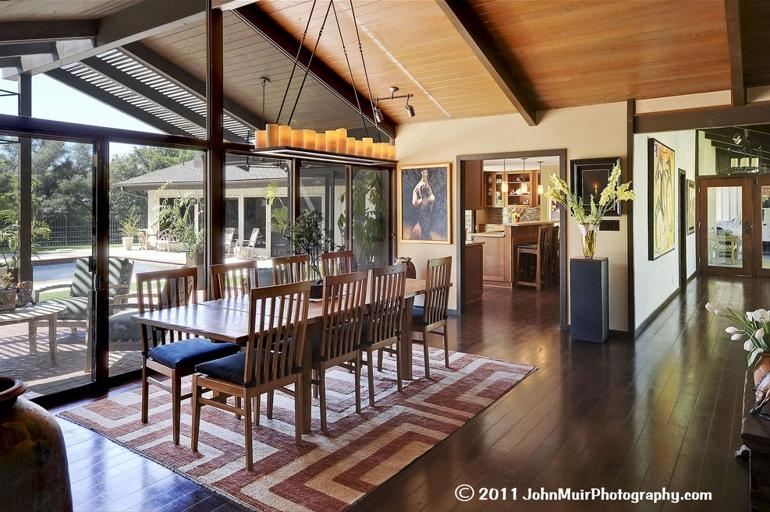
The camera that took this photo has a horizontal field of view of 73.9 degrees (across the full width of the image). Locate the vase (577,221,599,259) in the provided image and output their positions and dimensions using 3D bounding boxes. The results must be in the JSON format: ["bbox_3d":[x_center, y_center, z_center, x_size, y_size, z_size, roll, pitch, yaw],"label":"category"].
[{"bbox_3d":[2.782,-0.214,7.032,0.211,0.504,0.411,5,13,25],"label":"vase"}]

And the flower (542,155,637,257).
[{"bbox_3d":[2.770,-0.609,6.911,0.992,1.327,0.822,5,13,23],"label":"flower"}]

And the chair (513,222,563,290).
[{"bbox_3d":[3.109,0.033,10.581,0.505,0.908,1.456,2,2,31],"label":"chair"}]

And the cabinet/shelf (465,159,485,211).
[{"bbox_3d":[1.499,-1.208,8.694,0.275,0.781,0.351,1,12,4],"label":"cabinet/shelf"}]

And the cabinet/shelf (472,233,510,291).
[{"bbox_3d":[2.162,0.124,10.358,0.645,1.034,1.181,2,5,27],"label":"cabinet/shelf"}]

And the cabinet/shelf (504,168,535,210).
[{"bbox_3d":[3.953,-1.978,15.097,0.454,1.340,1.236,-5,7,-43],"label":"cabinet/shelf"}]

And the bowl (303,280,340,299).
[{"bbox_3d":[-0.611,0.317,4.829,0.218,0.100,0.282,0,4,-7],"label":"bowl"}]

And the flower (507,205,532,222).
[{"bbox_3d":[3.934,-1.259,15.171,0.374,0.436,0.682,-1,1,32],"label":"flower"}]

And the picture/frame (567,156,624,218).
[{"bbox_3d":[2.909,-0.935,7.013,0.921,1.157,0.128,2,5,37],"label":"picture/frame"}]
